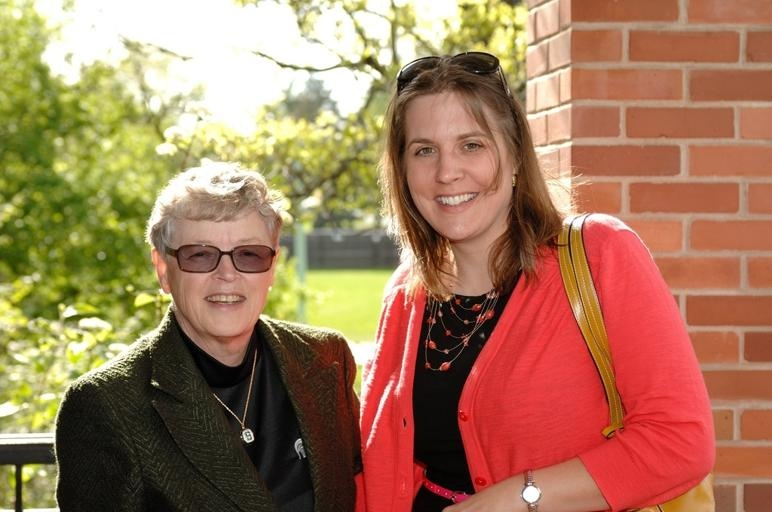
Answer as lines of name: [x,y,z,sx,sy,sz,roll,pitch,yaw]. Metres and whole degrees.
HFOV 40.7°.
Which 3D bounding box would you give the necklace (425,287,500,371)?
necklace: [0.320,0.319,4.865,0.343,0.109,0.499,-3,30,20]
